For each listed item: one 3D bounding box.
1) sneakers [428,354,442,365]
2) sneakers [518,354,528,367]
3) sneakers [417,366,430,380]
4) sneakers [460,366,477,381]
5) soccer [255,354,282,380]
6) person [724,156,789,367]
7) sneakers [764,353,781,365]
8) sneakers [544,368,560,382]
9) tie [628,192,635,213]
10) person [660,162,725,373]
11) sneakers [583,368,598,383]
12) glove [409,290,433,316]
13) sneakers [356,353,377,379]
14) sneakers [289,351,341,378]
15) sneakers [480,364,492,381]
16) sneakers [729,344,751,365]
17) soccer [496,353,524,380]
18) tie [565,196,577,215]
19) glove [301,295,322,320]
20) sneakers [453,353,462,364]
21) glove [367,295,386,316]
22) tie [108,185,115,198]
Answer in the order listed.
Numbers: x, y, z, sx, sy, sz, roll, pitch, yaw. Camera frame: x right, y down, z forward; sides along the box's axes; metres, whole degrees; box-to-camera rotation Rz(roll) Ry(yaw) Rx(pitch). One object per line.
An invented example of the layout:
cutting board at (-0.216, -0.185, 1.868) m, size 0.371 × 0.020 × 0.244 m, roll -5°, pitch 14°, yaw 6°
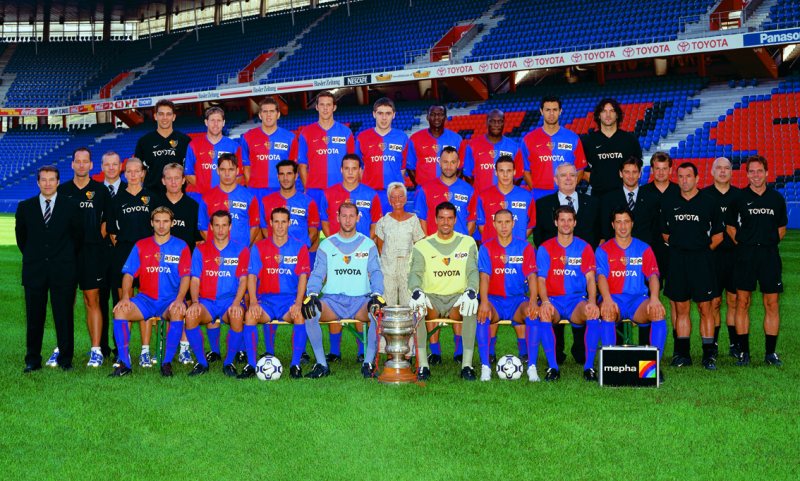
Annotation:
sneakers at (0.559, 1.911, 14.234) m, size 0.216 × 0.165 × 0.277 m, roll 1°, pitch -8°, yaw 2°
sneakers at (1.935, 1.875, 13.801) m, size 0.175 × 0.220 × 0.485 m, roll 0°, pitch -10°, yaw 7°
sneakers at (0.344, 2.003, 13.291) m, size 0.142 × 0.144 × 0.328 m, roll 0°, pitch -9°, yaw 2°
sneakers at (1.041, 2.002, 13.332) m, size 0.240 × 0.220 × 0.326 m, roll 1°, pitch -8°, yaw 4°
soccer at (-1.957, 1.914, 13.324) m, size 0.334 × 0.336 × 0.343 m, roll -13°, pitch -10°, yaw 32°
person at (5.704, 0.294, 14.016) m, size 0.901 × 3.297 × 0.426 m, roll -1°, pitch -9°, yaw 19°
sneakers at (5.916, 1.863, 13.874) m, size 0.289 × 0.186 × 0.253 m, roll 2°, pitch -8°, yaw -5°
sneakers at (2.335, 2.029, 13.362) m, size 0.226 × 0.198 × 0.465 m, roll 0°, pitch -8°, yaw 14°
tie at (3.795, -0.634, 14.343) m, size 0.124 × 0.351 × 0.085 m, roll 0°, pitch -9°, yaw 14°
person at (4.703, 0.373, 14.086) m, size 0.991 × 3.280 × 0.677 m, roll 1°, pitch -9°, yaw 3°
sneakers at (2.878, 2.013, 13.245) m, size 0.208 × 0.198 × 0.255 m, roll 0°, pitch -8°, yaw 12°
glove at (0.319, 0.947, 13.431) m, size 0.231 × 0.420 × 0.503 m, roll -6°, pitch -11°, yaw 43°
sneakers at (-0.519, 1.940, 13.587) m, size 0.244 × 0.287 × 0.676 m, roll 3°, pitch -9°, yaw -1°
sneakers at (-1.314, 1.948, 13.470) m, size 0.664 × 0.280 × 0.239 m, roll 6°, pitch 4°, yaw -32°
sneakers at (1.292, 1.989, 13.253) m, size 0.171 × 0.196 × 0.430 m, roll -1°, pitch -7°, yaw 6°
sneakers at (5.453, 1.834, 14.080) m, size 0.153 × 0.193 × 0.453 m, roll -10°, pitch -2°, yaw 4°
soccer at (1.677, 1.913, 13.340) m, size 0.348 × 0.347 × 0.345 m, roll 2°, pitch -8°, yaw -3°
tie at (2.760, -0.577, 14.213) m, size 0.193 × 0.300 × 0.091 m, roll -15°, pitch 2°, yaw 13°
glove at (-1.375, 1.024, 13.558) m, size 0.309 × 0.375 × 0.323 m, roll 2°, pitch -8°, yaw -3°
sneakers at (0.935, 1.908, 14.249) m, size 0.125 × 0.127 × 0.125 m, roll -2°, pitch 0°, yaw 2°
glove at (-0.357, 0.981, 13.437) m, size 0.214 × 0.317 × 0.419 m, roll 9°, pitch -11°, yaw -40°
tie at (-4.760, -0.812, 14.430) m, size 0.061 × 0.185 × 0.192 m, roll 1°, pitch -14°, yaw -18°
